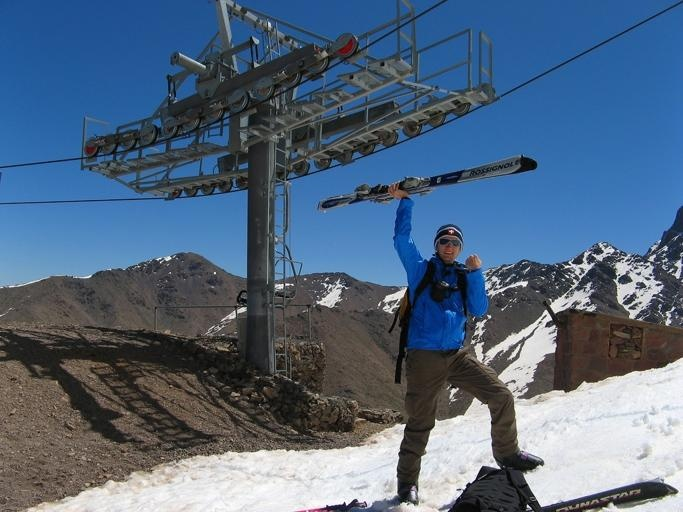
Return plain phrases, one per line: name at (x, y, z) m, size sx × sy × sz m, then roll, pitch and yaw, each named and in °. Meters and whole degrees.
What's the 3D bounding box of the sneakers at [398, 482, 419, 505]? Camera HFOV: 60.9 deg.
sneakers at (0.842, 3.026, 7.426) m, size 0.144 × 0.314 × 0.280 m, roll -11°, pitch 18°, yaw -31°
